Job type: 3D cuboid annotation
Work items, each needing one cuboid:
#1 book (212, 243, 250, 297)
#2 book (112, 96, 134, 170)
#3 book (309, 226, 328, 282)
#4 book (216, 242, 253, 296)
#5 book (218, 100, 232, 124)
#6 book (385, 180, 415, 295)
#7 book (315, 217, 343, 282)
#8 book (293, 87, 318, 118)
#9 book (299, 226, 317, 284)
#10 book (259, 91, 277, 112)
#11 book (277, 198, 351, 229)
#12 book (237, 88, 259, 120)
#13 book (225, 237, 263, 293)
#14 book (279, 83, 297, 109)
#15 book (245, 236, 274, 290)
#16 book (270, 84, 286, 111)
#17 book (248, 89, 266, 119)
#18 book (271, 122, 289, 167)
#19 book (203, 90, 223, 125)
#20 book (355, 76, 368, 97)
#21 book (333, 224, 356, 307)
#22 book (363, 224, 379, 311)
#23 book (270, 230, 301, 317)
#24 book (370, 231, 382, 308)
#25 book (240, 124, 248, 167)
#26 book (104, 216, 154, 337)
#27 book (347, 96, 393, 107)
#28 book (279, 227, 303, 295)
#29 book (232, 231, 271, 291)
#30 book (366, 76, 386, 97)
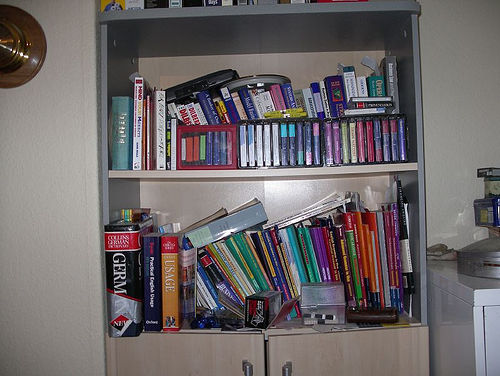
[{"bbox_3d":[-0.075,0.327,1.911,0.025,0.251,0.027,-35,0,0],"label":"book"},{"bbox_3d":[-0.501,-0.216,1.844,0.087,0.275,0.275,0,2,-3],"label":"book"},{"bbox_3d":[0.273,0.264,1.912,0.066,0.037,0.284,-12,44,20],"label":"book"},{"bbox_3d":[-0.062,0.324,1.911,0.033,0.246,0.032,-34,-2,-1],"label":"book"},{"bbox_3d":[-0.105,-0.325,1.964,0.026,0.121,0.027,-17,8,7],"label":"book"},{"bbox_3d":[0.636,0.201,1.996,0.049,0.343,0.293,-4,-2,8],"label":"book"},{"bbox_3d":[0.334,0.235,1.913,0.045,0.205,0.195,-6,0,5],"label":"book"},{"bbox_3d":[0.231,-0.355,1.946,0.035,0.097,0.107,-16,17,17],"label":"book"},{"bbox_3d":[0.232,0.275,1.893,0.030,0.263,0.030,-15,-5,8],"label":"book"},{"bbox_3d":[0.078,-0.364,1.948,0.029,0.092,0.077,-19,4,0],"label":"book"},{"bbox_3d":[0.278,0.112,2.001,0.272,0.028,0.234,-16,-4,-30],"label":"book"},{"bbox_3d":[-0.006,-0.352,1.947,0.025,0.104,0.103,-22,-34,-9],"label":"book"},{"bbox_3d":[-0.024,0.319,1.909,0.046,0.198,0.190,-19,21,-4],"label":"book"},{"bbox_3d":[0.153,-0.391,1.990,0.083,0.093,0.088,-10,24,1],"label":"book"},{"bbox_3d":[0.044,0.301,1.906,0.032,0.235,0.031,-26,-4,10],"label":"book"},{"bbox_3d":[0.117,-0.377,1.946,0.029,0.091,0.084,-11,15,-1],"label":"book"},{"bbox_3d":[0.035,-0.353,1.962,0.023,0.103,0.102,-16,29,-2],"label":"book"},{"bbox_3d":[0.126,-0.180,1.870,0.071,0.155,0.015,-1,-5,-35],"label":"book"},{"bbox_3d":[-0.152,-0.343,1.956,0.058,0.149,0.055,-4,-3,25],"label":"book"},{"bbox_3d":[0.464,-0.423,1.935,0.060,0.074,0.069,-2,2,14],"label":"book"},{"bbox_3d":[0.383,0.314,1.866,0.062,0.216,0.024,-4,-2,12],"label":"book"},{"bbox_3d":[0.475,0.311,1.833,0.042,0.234,0.076,-4,-2,13],"label":"book"},{"bbox_3d":[0.143,0.340,1.887,0.034,0.353,0.045,-18,-3,3],"label":"book"},{"bbox_3d":[0.500,0.315,1.863,0.028,0.336,0.034,-4,-2,-10],"label":"book"},{"bbox_3d":[-0.027,-0.166,1.867,0.029,0.162,0.012,-3,-2,-6],"label":"book"},{"bbox_3d":[-0.459,0.356,1.767,0.140,0.393,0.408,-1,-6,-2],"label":"book"},{"bbox_3d":[0.488,-0.354,1.889,0.177,0.027,0.048,-4,-2,0],"label":"book"},{"bbox_3d":[0.170,0.297,1.901,0.049,0.218,0.205,-13,-4,4],"label":"book"},{"bbox_3d":[0.048,0.289,1.920,0.047,0.206,0.198,-21,22,-9],"label":"book"},{"bbox_3d":[0.522,-0.422,1.935,0.081,0.108,0.057,-5,-5,6],"label":"book"}]
